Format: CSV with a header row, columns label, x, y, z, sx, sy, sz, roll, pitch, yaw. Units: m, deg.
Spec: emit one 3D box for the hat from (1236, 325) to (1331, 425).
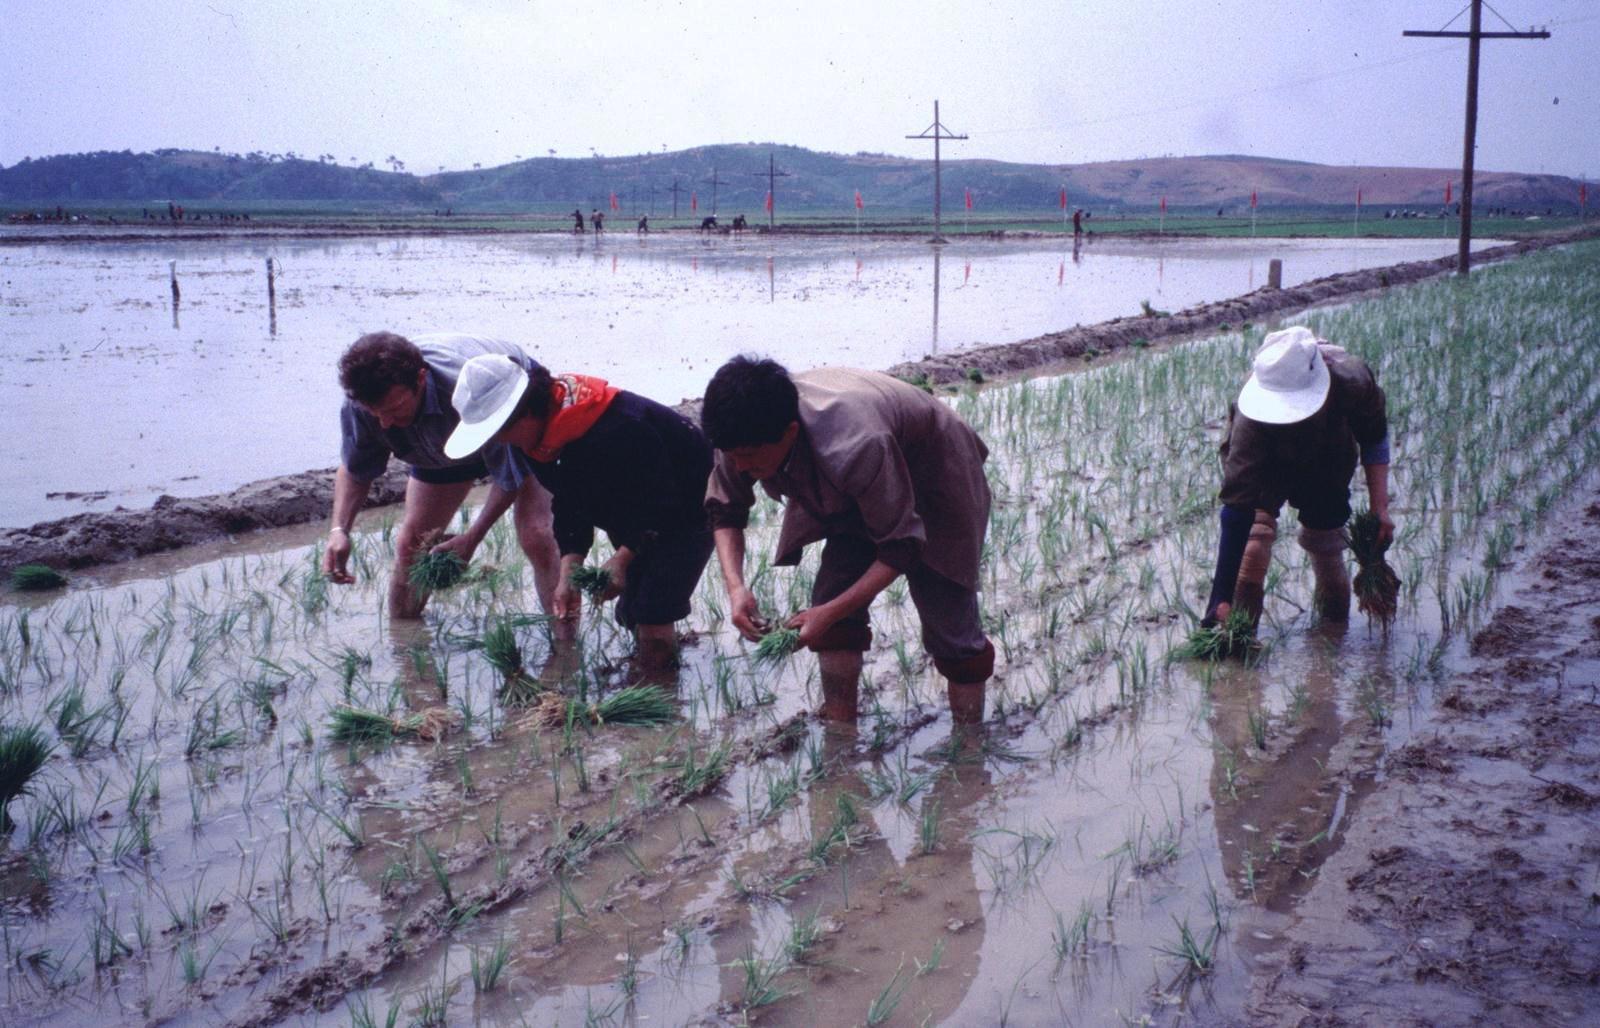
label,x,y,z,sx,sy,sz,roll,pitch,yaw
hat,2.784,-0.742,7.667,0.395,0.618,0.271,-2,-29,32
